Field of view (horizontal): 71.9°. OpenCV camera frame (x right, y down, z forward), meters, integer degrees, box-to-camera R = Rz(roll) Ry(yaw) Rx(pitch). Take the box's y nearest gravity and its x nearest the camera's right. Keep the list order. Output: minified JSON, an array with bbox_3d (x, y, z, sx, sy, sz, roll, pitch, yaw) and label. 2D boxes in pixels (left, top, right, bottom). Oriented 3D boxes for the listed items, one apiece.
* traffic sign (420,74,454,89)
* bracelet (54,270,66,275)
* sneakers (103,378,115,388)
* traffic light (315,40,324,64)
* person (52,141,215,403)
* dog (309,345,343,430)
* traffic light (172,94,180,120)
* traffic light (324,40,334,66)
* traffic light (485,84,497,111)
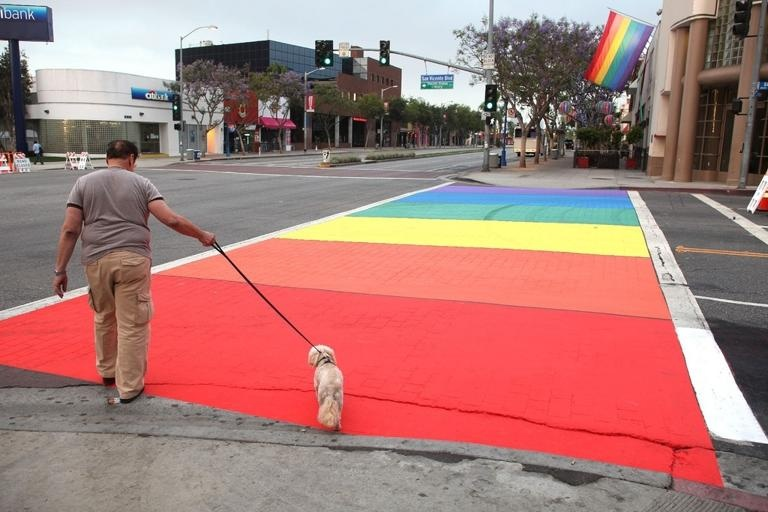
[{"bbox_3d":[4.585,-14.353,43.806,2.723,1.057,1.944,8,15,30],"label":"traffic sign"},{"bbox_3d":[-3.380,0.170,5.493,0.080,0.051,0.099,4,5,-6],"label":"bracelet"},{"bbox_3d":[-2.945,1.341,5.669,0.100,0.089,0.114,-2,-5,2],"label":"sneakers"},{"bbox_3d":[-3.657,-11.531,30.185,0.448,1.149,1.319,-3,13,-12],"label":"traffic light"},{"bbox_3d":[-2.722,0.117,5.532,1.351,2.563,0.843,5,13,20],"label":"person"},{"bbox_3d":[-0.558,1.193,5.131,0.206,0.376,0.908,2,24,-8],"label":"dog"},{"bbox_3d":[-17.807,-12.821,45.658,0.497,2.139,1.057,-11,17,-40],"label":"traffic light"},{"bbox_3d":[-3.153,-11.403,29.762,0.478,1.238,1.246,-3,13,-14],"label":"traffic light"},{"bbox_3d":[6.513,-9.646,32.270,0.640,1.649,0.937,1,13,4],"label":"traffic light"}]
